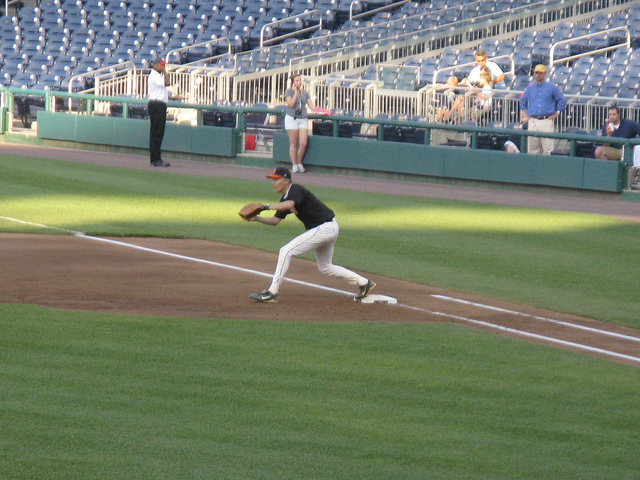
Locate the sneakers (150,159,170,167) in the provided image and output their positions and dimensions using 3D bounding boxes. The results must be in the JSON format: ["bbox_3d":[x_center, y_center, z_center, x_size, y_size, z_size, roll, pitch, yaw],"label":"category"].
[{"bbox_3d":[-3.226,-1.625,36.673,0.451,0.153,0.139,1,9,8],"label":"sneakers"}]

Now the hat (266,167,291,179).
[{"bbox_3d":[-0.669,-1.098,28.219,0.316,0.144,0.188,-1,1,-17],"label":"hat"}]

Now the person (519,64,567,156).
[{"bbox_3d":[4.289,-2.564,35.295,0.849,1.694,1.253,4,5,3],"label":"person"}]

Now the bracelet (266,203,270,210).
[{"bbox_3d":[-0.825,-0.557,27.980,0.071,0.060,0.030,-9,-19,33],"label":"bracelet"}]

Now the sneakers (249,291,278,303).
[{"bbox_3d":[-0.892,0.808,28.246,0.378,0.146,0.179,3,4,8],"label":"sneakers"}]

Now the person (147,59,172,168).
[{"bbox_3d":[-3.270,-2.602,36.544,0.529,2.159,0.841,4,5,-6],"label":"person"}]

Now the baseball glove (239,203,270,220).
[{"bbox_3d":[-1.043,-0.452,28.031,0.297,0.107,0.291,-32,22,-32],"label":"baseball glove"}]

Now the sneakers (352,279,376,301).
[{"bbox_3d":[0.680,0.785,28.619,0.250,0.457,0.160,24,39,-17],"label":"sneakers"}]

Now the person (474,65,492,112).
[{"bbox_3d":[3.441,-3.206,38.116,0.336,0.924,0.463,4,5,4],"label":"person"}]

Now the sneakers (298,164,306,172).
[{"bbox_3d":[-0.415,-1.532,37.164,0.170,0.178,0.462,-3,-4,-2],"label":"sneakers"}]

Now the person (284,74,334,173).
[{"bbox_3d":[-0.468,-2.377,36.581,0.617,1.961,1.511,4,5,-1],"label":"person"}]

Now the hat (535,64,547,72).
[{"bbox_3d":[4.195,-3.303,34.667,0.242,0.140,0.315,3,6,18],"label":"hat"}]

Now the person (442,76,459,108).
[{"bbox_3d":[2.734,-3.240,38.479,0.301,0.545,0.786,4,5,4],"label":"person"}]
